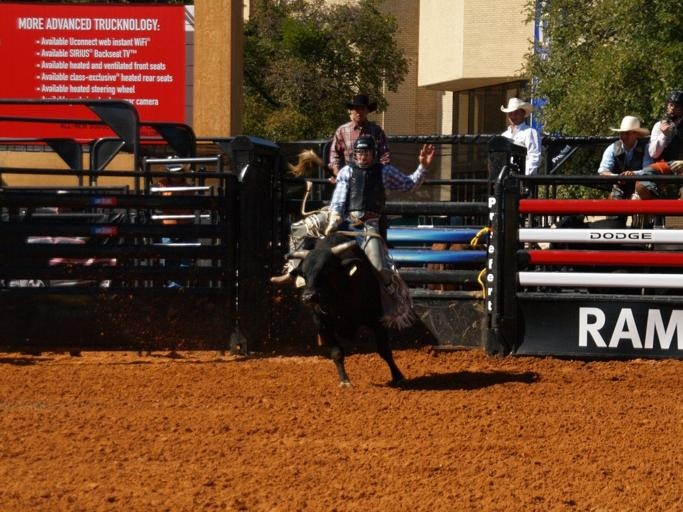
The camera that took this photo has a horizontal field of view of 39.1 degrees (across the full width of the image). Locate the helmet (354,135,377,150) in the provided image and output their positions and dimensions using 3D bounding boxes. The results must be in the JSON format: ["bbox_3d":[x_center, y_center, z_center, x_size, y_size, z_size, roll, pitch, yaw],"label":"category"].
[{"bbox_3d":[0.264,-1.279,10.774,0.228,0.158,0.218,1,15,6],"label":"helmet"}]

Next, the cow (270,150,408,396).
[{"bbox_3d":[-0.055,0.178,10.453,1.181,2.456,1.394,-3,15,-10],"label":"cow"}]

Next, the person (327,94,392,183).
[{"bbox_3d":[0.235,-1.483,12.677,0.861,1.198,0.643,0,10,4],"label":"person"}]
